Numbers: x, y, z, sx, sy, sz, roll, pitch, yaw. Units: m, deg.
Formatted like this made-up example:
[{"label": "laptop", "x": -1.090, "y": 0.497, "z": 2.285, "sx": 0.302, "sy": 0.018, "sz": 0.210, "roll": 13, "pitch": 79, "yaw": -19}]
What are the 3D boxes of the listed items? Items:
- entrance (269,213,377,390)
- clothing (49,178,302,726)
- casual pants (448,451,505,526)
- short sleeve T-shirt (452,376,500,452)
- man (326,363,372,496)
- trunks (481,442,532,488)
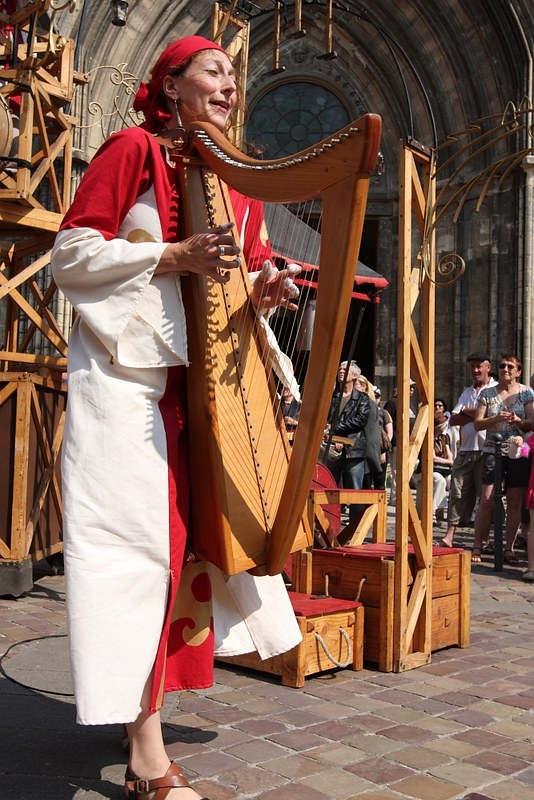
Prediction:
[{"label": "entrance", "x": 0.165, "y": -0.309, "z": 2.777, "sx": 0.187, "sy": 0.249, "sz": 0.254, "roll": 44, "pitch": -18, "yaw": -16}, {"label": "clothing", "x": -0.249, "y": 0.104, "z": 2.230, "sx": 0.296, "sy": 1.304, "sz": 0.655, "roll": -4, "pitch": -10, "yaw": 44}, {"label": "casual pants", "x": 1.788, "y": 0.765, "z": 7.597, "sx": 0.239, "sy": 0.650, "sz": 0.333, "roll": 12, "pitch": 3, "yaw": 28}, {"label": "short sleeve T-shirt", "x": 1.869, "y": 0.136, "z": 7.641, "sx": 0.501, "sy": 0.588, "sz": 0.368, "roll": -4, "pitch": -2, "yaw": 39}, {"label": "man", "x": 0.655, "y": 0.270, "z": 7.486, "sx": 0.447, "sy": 1.177, "sz": 0.368, "roll": 1, "pitch": 16, "yaw": -2}, {"label": "trunks", "x": 1.912, "y": 0.556, "z": 7.016, "sx": 0.325, "sy": 0.320, "sz": 0.366, "roll": 3, "pitch": -7, "yaw": 0}]
